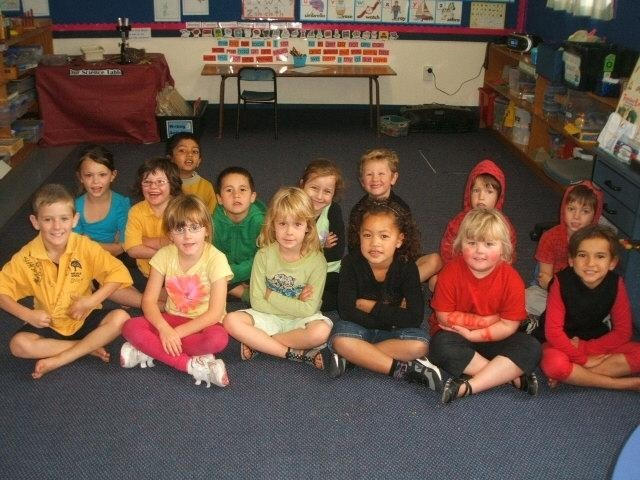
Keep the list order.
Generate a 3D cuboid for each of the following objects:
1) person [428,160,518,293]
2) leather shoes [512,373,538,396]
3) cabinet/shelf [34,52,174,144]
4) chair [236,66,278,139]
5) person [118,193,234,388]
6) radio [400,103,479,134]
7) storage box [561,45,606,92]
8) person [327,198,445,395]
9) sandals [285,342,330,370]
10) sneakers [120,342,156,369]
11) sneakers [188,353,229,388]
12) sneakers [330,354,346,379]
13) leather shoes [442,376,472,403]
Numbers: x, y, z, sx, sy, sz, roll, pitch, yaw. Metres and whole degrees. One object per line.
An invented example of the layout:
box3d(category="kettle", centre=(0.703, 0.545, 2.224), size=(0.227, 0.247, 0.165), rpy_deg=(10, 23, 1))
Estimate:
box3d(category="person", centre=(0.864, -0.097, 2.533), size=(0.499, 0.689, 0.479), rpy_deg=(2, 5, -9))
box3d(category="leather shoes", centre=(0.926, 0.637, 2.064), size=(0.071, 0.055, 0.163), rpy_deg=(-6, 5, 1))
box3d(category="cabinet/shelf", centre=(-2.583, -1.666, 5.507), size=(1.149, 0.680, 1.121), rpy_deg=(0, 21, -1))
box3d(category="chair", centre=(-0.865, -1.924, 6.110), size=(0.558, 0.806, 1.421), rpy_deg=(-2, 24, -5))
box3d(category="person", centre=(-0.702, 0.264, 2.225), size=(0.624, 0.800, 0.676), rpy_deg=(10, 25, -3))
box3d(category="radio", centre=(1.619, -1.639, 6.095), size=(0.707, 0.219, 0.510), rpy_deg=(0, 25, 1))
box3d(category="storage box", centre=(2.295, -1.498, 3.932), size=(0.259, 0.357, 0.665), rpy_deg=(6, 25, 12))
box3d(category="person", centre=(0.274, 0.217, 2.084), size=(0.523, 0.709, 0.757), rpy_deg=(-1, 13, 7))
box3d(category="sandals", centre=(-0.055, 0.555, 2.160), size=(0.262, 0.086, 0.111), rpy_deg=(0, 18, 22))
box3d(category="sneakers", centre=(-0.888, 0.546, 2.221), size=(0.156, 0.140, 0.113), rpy_deg=(-8, 25, -30))
box3d(category="sneakers", centre=(-0.511, 0.596, 2.081), size=(0.167, 0.124, 0.071), rpy_deg=(10, 15, 22))
box3d(category="sneakers", centre=(0.078, 0.585, 2.094), size=(0.046, 0.056, 0.133), rpy_deg=(1, 13, 5))
box3d(category="leather shoes", centre=(0.596, 0.652, 2.012), size=(0.154, 0.090, 0.086), rpy_deg=(-6, 25, -15))
